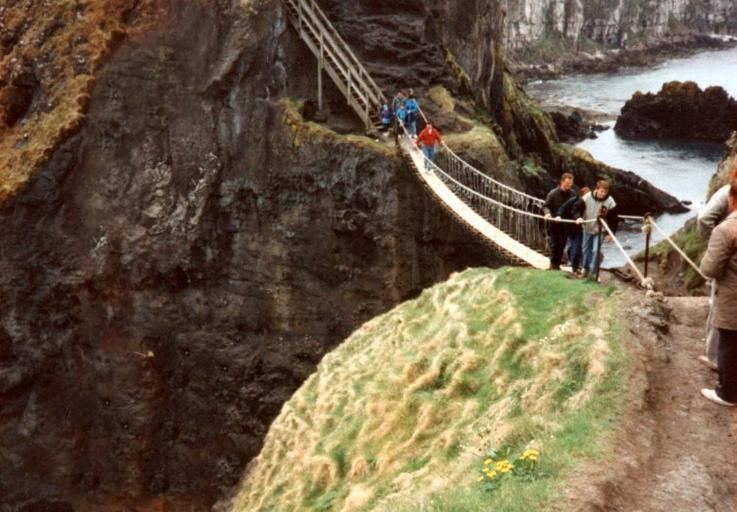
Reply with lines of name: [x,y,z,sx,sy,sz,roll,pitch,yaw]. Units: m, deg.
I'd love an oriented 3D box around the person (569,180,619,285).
person: [6.415,-0.760,30.023,0.859,2.692,0.534,2,15,13]

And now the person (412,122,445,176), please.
person: [2.071,-3.696,36.110,0.905,1.844,0.547,-7,31,-7]
